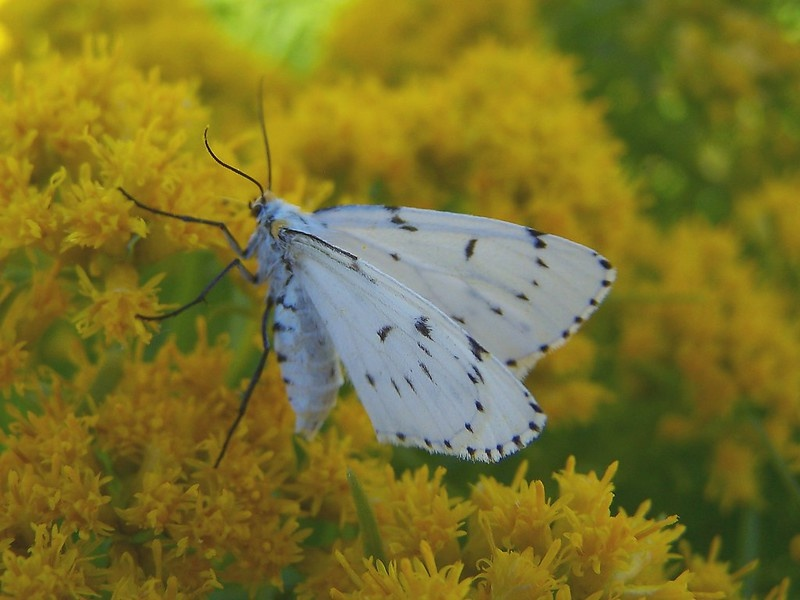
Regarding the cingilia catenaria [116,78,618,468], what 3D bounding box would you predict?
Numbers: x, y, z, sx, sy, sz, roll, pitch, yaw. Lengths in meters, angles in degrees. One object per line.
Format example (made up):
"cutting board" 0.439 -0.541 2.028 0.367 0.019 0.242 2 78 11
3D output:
"cingilia catenaria" -0.017 0.043 1.158 0.363 0.354 0.212 33 109 11
